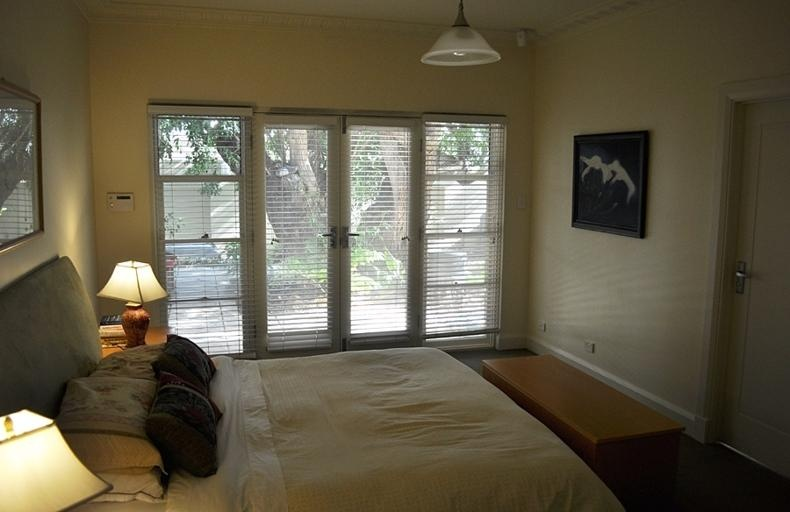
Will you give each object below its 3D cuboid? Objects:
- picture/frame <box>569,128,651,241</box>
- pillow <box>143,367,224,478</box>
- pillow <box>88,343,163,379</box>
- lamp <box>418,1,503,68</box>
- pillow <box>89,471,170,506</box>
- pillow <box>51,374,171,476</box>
[{"bbox_3d":[1.991,-0.675,5.155,0.142,0.920,0.873,-5,10,-24],"label":"picture/frame"},{"bbox_3d":[-1.266,0.881,3.340,0.454,0.267,0.739,28,19,-27],"label":"pillow"},{"bbox_3d":[-1.711,0.680,3.571,0.209,0.074,0.276,4,13,-8],"label":"pillow"},{"bbox_3d":[0.446,-1.574,3.864,0.408,0.415,0.437,-7,11,-33],"label":"lamp"},{"bbox_3d":[-1.396,1.225,2.933,0.369,0.101,0.298,3,1,-8],"label":"pillow"},{"bbox_3d":[-1.728,0.870,3.182,0.595,0.223,0.901,16,10,-35],"label":"pillow"}]
